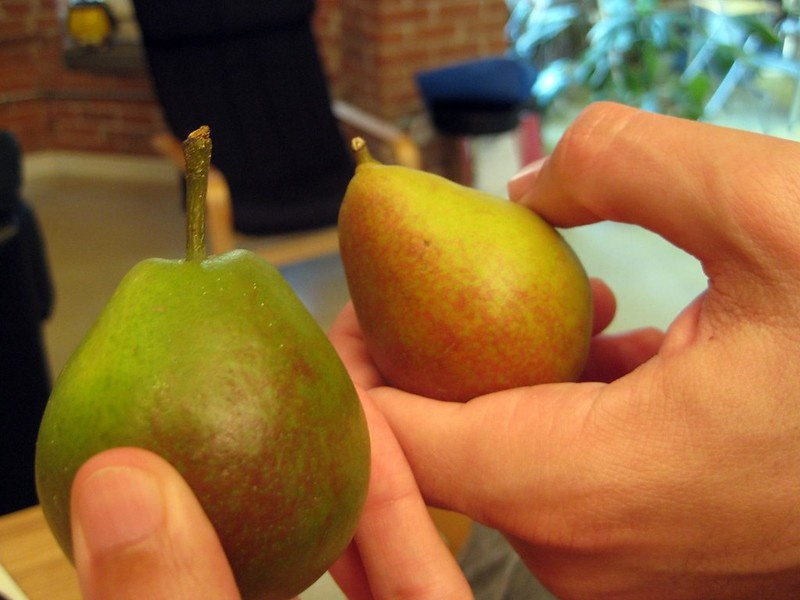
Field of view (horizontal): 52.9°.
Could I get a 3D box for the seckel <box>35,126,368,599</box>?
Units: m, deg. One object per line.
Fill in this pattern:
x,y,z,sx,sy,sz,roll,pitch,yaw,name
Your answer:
-0.152,0.075,0.601,0.201,0.317,0.221,25,41,38,seckel
